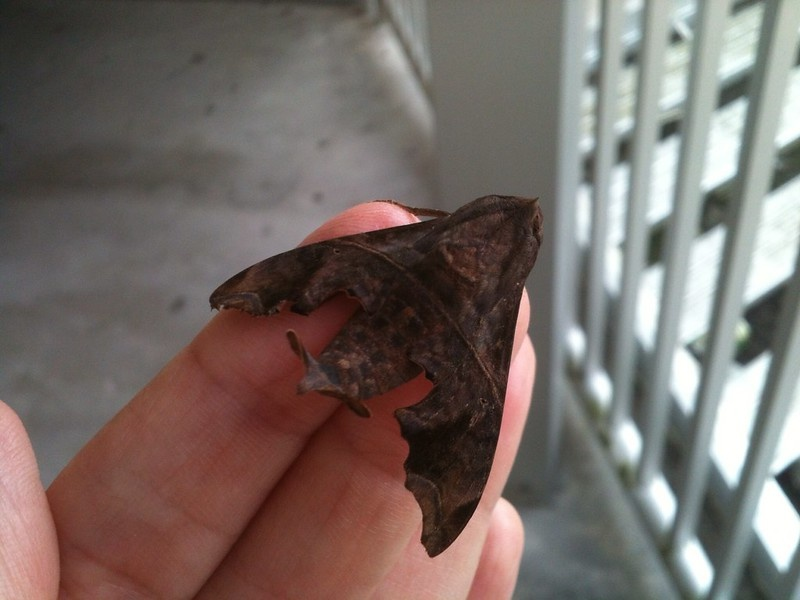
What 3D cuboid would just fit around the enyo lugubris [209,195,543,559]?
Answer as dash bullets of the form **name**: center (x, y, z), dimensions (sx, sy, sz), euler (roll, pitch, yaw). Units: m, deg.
- **enyo lugubris**: center (0.015, 0.070, 0.862), dimensions (0.384, 0.106, 0.373), euler (-22, 69, -9)
